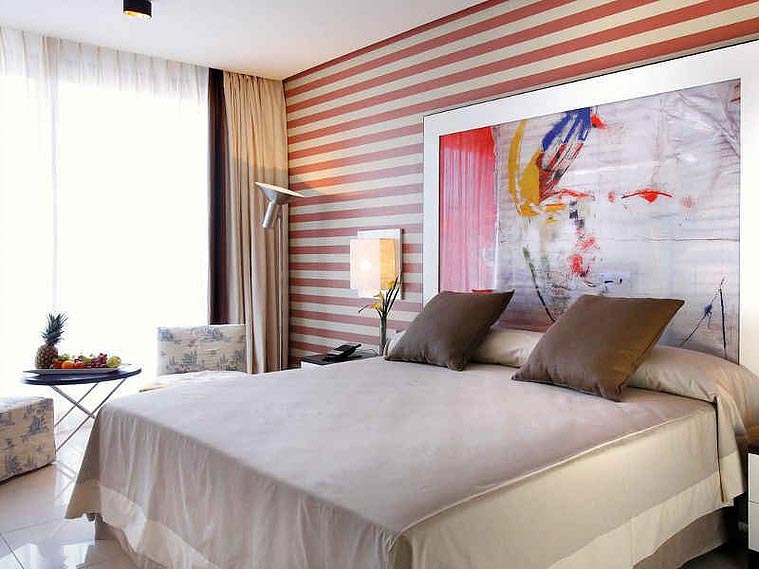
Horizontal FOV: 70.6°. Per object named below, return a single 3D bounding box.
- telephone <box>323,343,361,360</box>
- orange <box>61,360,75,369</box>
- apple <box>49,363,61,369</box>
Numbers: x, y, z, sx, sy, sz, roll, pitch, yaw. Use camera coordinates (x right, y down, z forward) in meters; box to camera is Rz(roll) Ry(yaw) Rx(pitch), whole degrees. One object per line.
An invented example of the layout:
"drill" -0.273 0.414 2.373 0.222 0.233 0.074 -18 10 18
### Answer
"telephone" -0.268 0.519 4.245 0.114 0.051 0.224 5 10 38
"orange" -2.099 0.539 3.615 0.055 0.053 0.056 7 7 40
"apple" -2.161 0.550 3.594 0.037 0.029 0.049 19 15 36
